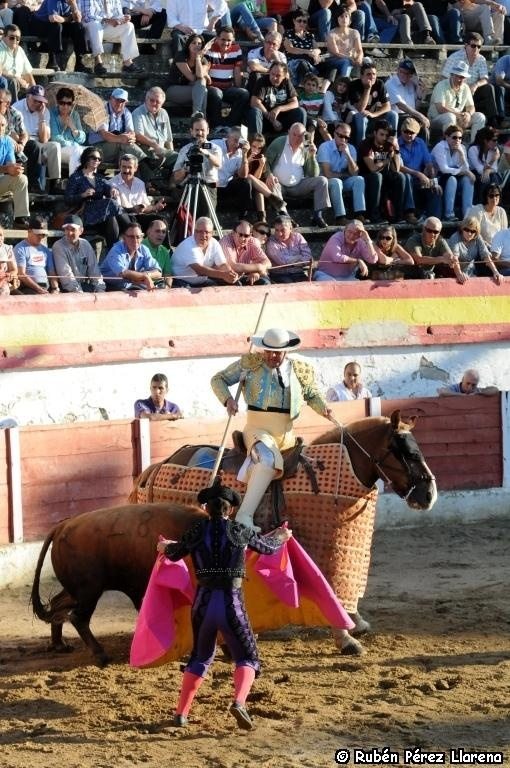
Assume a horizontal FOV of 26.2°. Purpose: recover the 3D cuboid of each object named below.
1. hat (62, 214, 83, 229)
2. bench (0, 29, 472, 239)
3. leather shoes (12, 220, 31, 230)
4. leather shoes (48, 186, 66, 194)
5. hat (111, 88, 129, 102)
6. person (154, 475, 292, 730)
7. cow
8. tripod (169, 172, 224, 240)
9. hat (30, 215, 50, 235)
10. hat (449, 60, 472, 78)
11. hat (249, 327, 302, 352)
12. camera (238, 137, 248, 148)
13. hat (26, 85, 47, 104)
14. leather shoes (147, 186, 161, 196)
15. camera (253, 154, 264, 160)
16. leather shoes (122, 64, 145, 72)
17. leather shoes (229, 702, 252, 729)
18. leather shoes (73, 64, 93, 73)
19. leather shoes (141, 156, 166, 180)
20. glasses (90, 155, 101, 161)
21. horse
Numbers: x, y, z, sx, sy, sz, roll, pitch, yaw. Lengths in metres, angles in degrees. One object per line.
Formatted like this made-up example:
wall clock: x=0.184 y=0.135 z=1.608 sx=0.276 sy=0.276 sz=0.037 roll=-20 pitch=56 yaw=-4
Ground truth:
hat: x=-1.425 y=-1.276 z=8.573 sx=0.130 sy=0.094 sz=0.186 roll=2 pitch=-5 yaw=6
bench: x=-0.275 y=-2.378 z=10.663 sx=5.620 sy=2.195 sz=1.264 roll=1 pitch=-9 yaw=-11
leather shoes: x=-1.920 y=-1.316 z=9.027 sx=0.162 sy=0.086 sz=0.106 roll=-1 pitch=2 yaw=8
leather shoes: x=-1.755 y=-1.744 z=9.803 sx=0.087 sy=0.060 sz=0.117 roll=5 pitch=15 yaw=11
hat: x=-1.250 y=-2.678 z=10.240 sx=0.169 sy=0.121 sz=0.225 roll=15 pitch=7 yaw=-20
person: x=-0.177 y=0.925 z=4.666 sx=0.509 sy=0.995 sz=0.551 roll=-1 pitch=2 yaw=8
cow: x=-0.552 y=0.966 z=5.441 sx=1.186 sy=0.742 sz=0.318 roll=-4 pitch=1 yaw=14
tripod: x=-0.584 y=-1.552 z=9.529 sx=0.432 sy=0.647 sz=0.495 roll=20 pitch=26 yaw=36
hat: x=-1.683 y=-1.212 z=8.504 sx=0.135 sy=0.128 sz=0.213 roll=-2 pitch=2 yaw=-15
hat: x=2.370 y=-3.628 z=12.662 sx=0.248 sy=0.151 sz=0.282 roll=9 pitch=-4 yaw=-2
hat: x=0.101 y=-0.261 z=6.446 sx=0.273 sy=0.090 sz=0.285 roll=0 pitch=22 yaw=-1
camera: x=-0.108 y=-2.232 z=10.155 sx=0.084 sy=0.099 sz=0.081 roll=1 pitch=-10 yaw=-2
hat: x=-1.916 y=-2.556 z=9.629 sx=0.161 sy=0.166 sz=0.194 roll=-2 pitch=2 yaw=-11
leather shoes: x=-0.948 y=-1.785 z=10.127 sx=0.062 sy=0.085 sz=0.223 roll=0 pitch=2 yaw=22
camera: x=0.029 y=-2.130 z=10.213 sx=0.080 sy=0.021 sz=0.079 roll=0 pitch=-27 yaw=-9
leather shoes: x=-1.318 y=-3.424 z=11.910 sx=0.221 sy=0.091 sz=0.098 roll=-6 pitch=18 yaw=-29
leather shoes: x=-0.056 y=1.339 z=4.477 sx=0.056 sy=0.153 sz=0.065 roll=1 pitch=48 yaw=37
leather shoes: x=-1.797 y=-3.300 z=11.501 sx=0.187 sy=0.130 sz=0.178 roll=-1 pitch=2 yaw=-10
leather shoes: x=-0.952 y=-2.033 z=10.168 sx=0.125 sy=0.162 sz=0.386 roll=2 pitch=-38 yaw=-18
glasses: x=-1.314 y=-1.877 z=9.082 sx=0.048 sy=0.057 sz=0.026 roll=2 pitch=-2 yaw=-42
horse: x=0.079 y=0.786 z=6.123 sx=1.783 sy=1.113 sz=0.499 roll=-3 pitch=4 yaw=18
